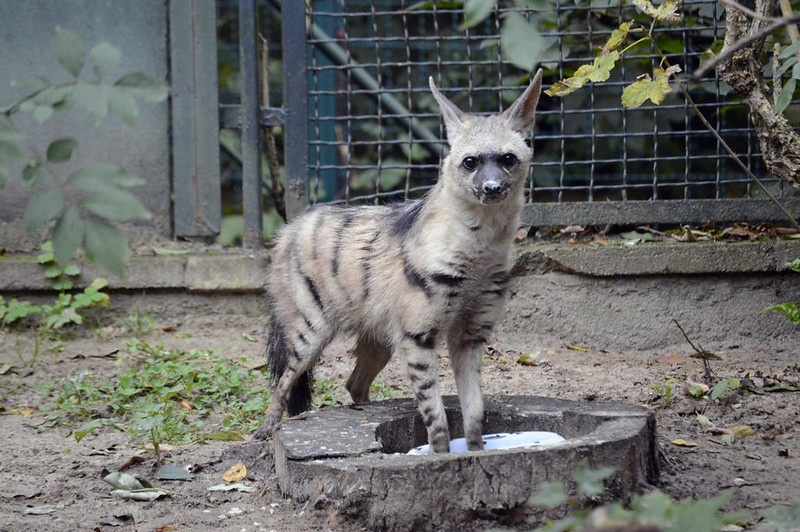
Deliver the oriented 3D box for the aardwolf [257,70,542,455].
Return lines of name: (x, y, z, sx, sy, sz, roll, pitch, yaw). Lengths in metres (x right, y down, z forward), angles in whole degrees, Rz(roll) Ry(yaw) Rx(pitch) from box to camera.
aardwolf: (-0.007, 0.146, 7.869, 1.049, 2.735, 3.040, -2, 1, -39)
